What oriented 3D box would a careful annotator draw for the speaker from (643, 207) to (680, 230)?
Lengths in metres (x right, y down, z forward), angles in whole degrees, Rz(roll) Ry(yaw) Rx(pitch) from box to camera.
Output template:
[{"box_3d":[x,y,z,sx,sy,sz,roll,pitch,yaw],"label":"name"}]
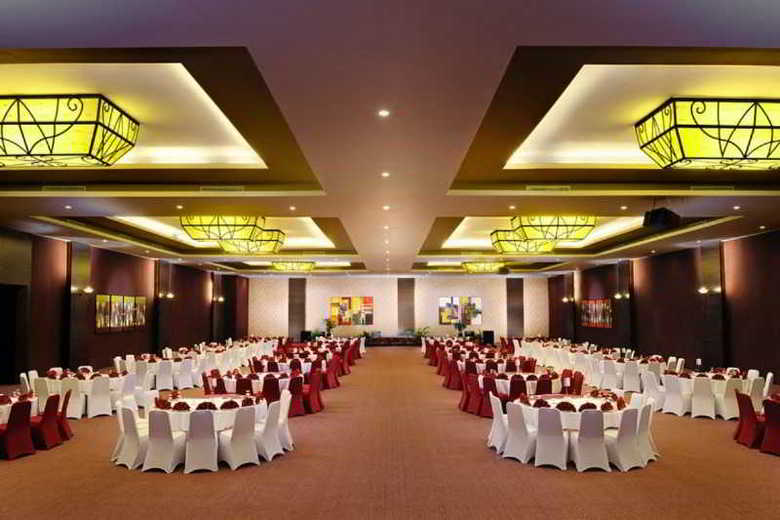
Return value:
[{"box_3d":[5.137,-0.759,10.031,0.527,0.309,0.498,14,-7,-21],"label":"speaker"}]
